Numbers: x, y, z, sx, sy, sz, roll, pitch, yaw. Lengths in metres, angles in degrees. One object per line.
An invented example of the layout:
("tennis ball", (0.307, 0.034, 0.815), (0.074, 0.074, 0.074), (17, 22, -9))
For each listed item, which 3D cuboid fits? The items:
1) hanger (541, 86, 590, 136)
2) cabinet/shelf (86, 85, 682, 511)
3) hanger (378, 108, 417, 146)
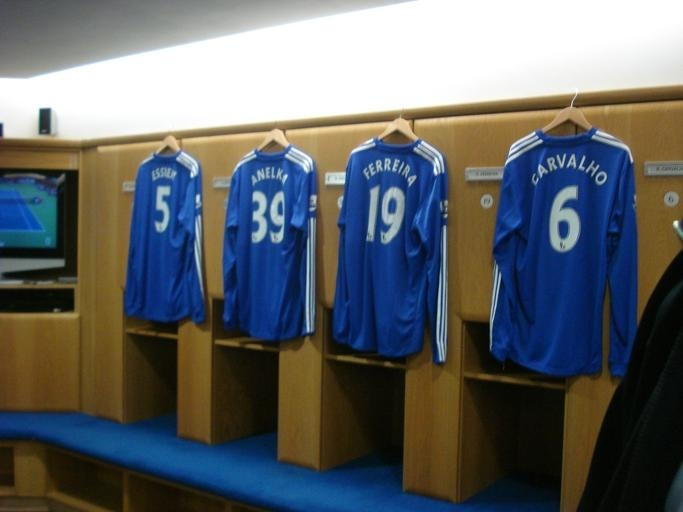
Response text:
("hanger", (1.148, -0.726, 3.347), (0.243, 0.201, 0.083), (4, 11, 21))
("cabinet/shelf", (-0.105, 0.170, 4.083), (3.410, 2.212, 0.799), (5, 12, 27))
("hanger", (0.322, -0.719, 3.687), (0.233, 0.177, 0.088), (4, 11, 22))
